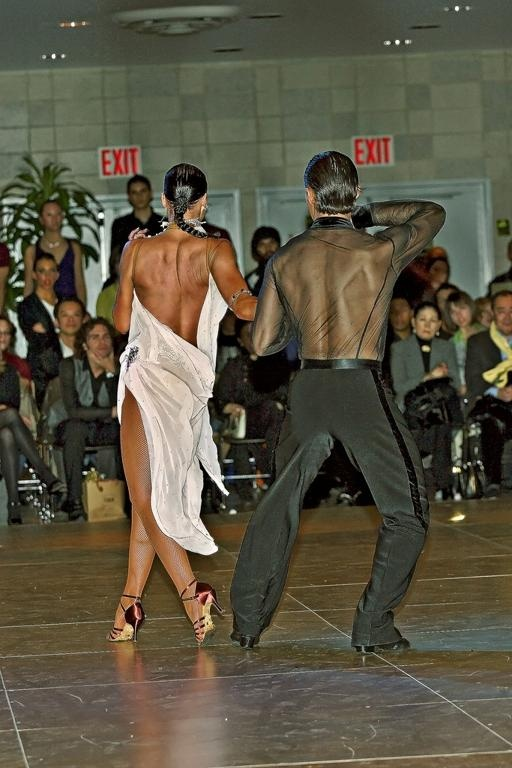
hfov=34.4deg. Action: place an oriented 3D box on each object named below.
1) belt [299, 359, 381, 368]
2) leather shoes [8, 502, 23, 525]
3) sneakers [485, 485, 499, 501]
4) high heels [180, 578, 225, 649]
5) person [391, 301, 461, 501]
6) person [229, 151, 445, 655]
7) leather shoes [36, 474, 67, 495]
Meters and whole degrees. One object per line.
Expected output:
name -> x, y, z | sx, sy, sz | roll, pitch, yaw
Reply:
belt -> 0.271, -0.064, 2.679 | 0.251, 0.037, 0.092 | -1, 3, 4
leather shoes -> -2.034, 1.074, 6.891 | 0.102, 0.182, 0.179 | -4, 4, -17
sneakers -> 2.080, 0.939, 7.287 | 0.139, 0.102, 0.080 | -1, 4, 10
high heels -> -0.200, 0.841, 3.103 | 0.166, 0.257, 0.105 | -10, 3, 5
person -> 1.624, 0.297, 7.696 | 0.657, 2.023, 0.552 | -5, 17, 6
person -> 0.256, 0.078, 2.812 | 0.687, 1.710, 0.363 | -1, 5, 24
leather shoes -> -1.730, 0.862, 7.027 | 0.155, 0.175, 0.153 | 1, 5, 45
